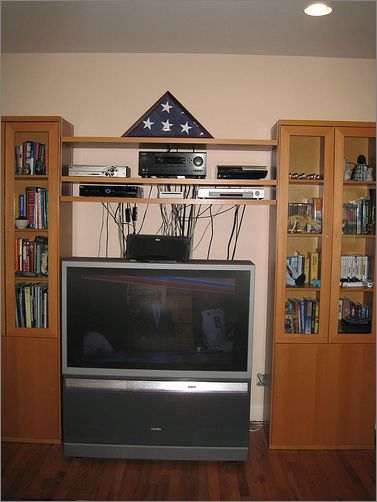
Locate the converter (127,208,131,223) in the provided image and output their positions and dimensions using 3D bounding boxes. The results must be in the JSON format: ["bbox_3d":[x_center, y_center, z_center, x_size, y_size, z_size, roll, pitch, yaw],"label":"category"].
[{"bbox_3d":[-0.423,-0.247,3.103,0.033,0.103,0.083,2,7,2],"label":"converter"}]

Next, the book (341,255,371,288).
[{"bbox_3d":[1.040,0.125,2.822,0.205,0.181,0.106,-2,4,-5],"label":"book"}]

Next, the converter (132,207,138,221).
[{"bbox_3d":[-0.376,-0.258,3.107,0.035,0.110,0.076,1,7,-3],"label":"converter"}]

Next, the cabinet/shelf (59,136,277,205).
[{"bbox_3d":[-0.127,-0.520,2.920,1.379,0.408,0.502,2,7,5],"label":"cabinet/shelf"}]

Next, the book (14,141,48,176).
[{"bbox_3d":[-0.979,-0.579,2.781,0.208,0.205,0.023,2,6,4],"label":"book"}]

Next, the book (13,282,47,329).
[{"bbox_3d":[-0.992,0.354,2.985,0.255,0.327,0.245,1,2,1],"label":"book"}]

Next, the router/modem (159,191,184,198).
[{"bbox_3d":[-0.113,-0.348,2.788,0.159,0.045,0.071,1,7,-4],"label":"router/modem"}]

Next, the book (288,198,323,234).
[{"bbox_3d":[0.719,-0.229,2.787,0.230,0.218,0.086,0,-1,-2],"label":"book"}]

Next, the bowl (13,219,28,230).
[{"bbox_3d":[-1.054,-0.164,2.802,0.068,0.046,0.068,0,1,0],"label":"bowl"}]

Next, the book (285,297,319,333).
[{"bbox_3d":[0.714,0.408,2.972,0.217,0.274,0.208,2,5,-1],"label":"book"}]
